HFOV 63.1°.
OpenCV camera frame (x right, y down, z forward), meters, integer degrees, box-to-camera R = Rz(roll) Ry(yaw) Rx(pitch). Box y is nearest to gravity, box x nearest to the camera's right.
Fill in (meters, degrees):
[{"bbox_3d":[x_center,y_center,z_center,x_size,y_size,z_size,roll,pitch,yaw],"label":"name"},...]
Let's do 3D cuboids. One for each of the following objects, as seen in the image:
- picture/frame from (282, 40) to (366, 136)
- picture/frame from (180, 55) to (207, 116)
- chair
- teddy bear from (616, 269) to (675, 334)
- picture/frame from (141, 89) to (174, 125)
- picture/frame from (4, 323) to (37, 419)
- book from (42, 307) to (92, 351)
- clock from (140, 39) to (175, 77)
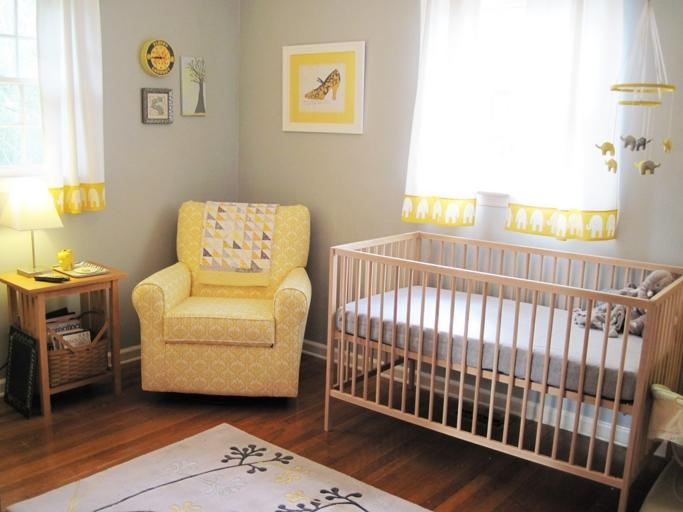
[{"bbox_3d":[-0.109,-1.258,4.090,0.725,0.721,0.037,3,7,30],"label":"picture/frame"},{"bbox_3d":[-1.152,-1.310,4.301,0.040,0.444,0.241,10,16,37],"label":"picture/frame"},{"bbox_3d":[-0.746,0.266,3.853,1.063,1.228,0.956,2,6,1],"label":"chair"},{"bbox_3d":[1.578,0.225,2.894,0.160,0.367,0.357,13,-5,-13],"label":"teddy bear"},{"bbox_3d":[-1.377,-1.105,4.098,0.028,0.283,0.274,10,12,42],"label":"picture/frame"},{"bbox_3d":[-1.969,0.722,3.408,0.495,0.620,0.044,7,2,41],"label":"picture/frame"},{"bbox_3d":[-1.759,0.484,3.540,0.210,0.269,0.100,-2,-18,-41],"label":"book"},{"bbox_3d":[-1.341,-1.444,4.027,0.055,0.246,0.239,7,3,42],"label":"clock"}]
